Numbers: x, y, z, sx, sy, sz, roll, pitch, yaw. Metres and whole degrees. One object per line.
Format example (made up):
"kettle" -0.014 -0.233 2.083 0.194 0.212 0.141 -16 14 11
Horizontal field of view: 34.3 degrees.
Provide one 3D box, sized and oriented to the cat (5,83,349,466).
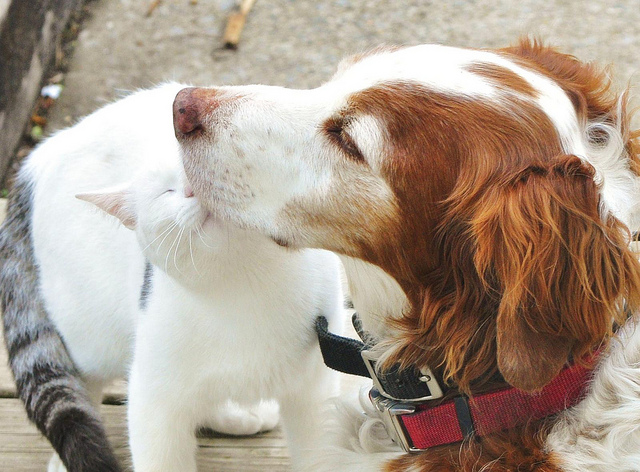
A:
"cat" -0.689 -0.063 4.469 1.021 1.464 1.854 -11 45 -7
